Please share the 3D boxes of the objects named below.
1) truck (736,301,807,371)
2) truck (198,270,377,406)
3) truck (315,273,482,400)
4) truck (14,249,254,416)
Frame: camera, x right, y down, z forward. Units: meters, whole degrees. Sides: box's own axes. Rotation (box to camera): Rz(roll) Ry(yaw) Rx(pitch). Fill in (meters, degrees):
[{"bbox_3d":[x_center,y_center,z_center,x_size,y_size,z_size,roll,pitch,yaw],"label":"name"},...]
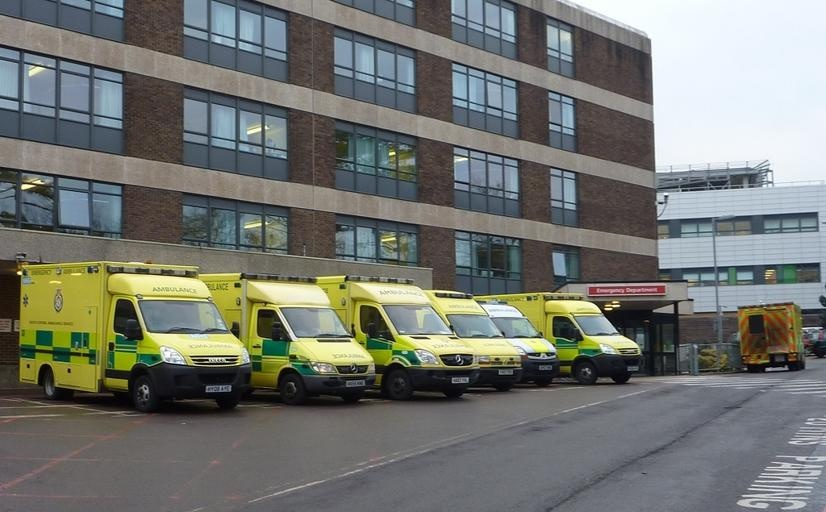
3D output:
[{"bbox_3d":[18.387,4.146,52.420,2.905,2.861,5.747,-7,-9,31],"label":"truck"},{"bbox_3d":[-5.003,2.424,36.126,7.986,3.847,3.719,5,3,36],"label":"truck"},{"bbox_3d":[-1.245,2.537,37.834,3.884,3.717,7.701,-3,6,-45],"label":"truck"},{"bbox_3d":[-8.733,2.421,34.085,4.197,4.110,8.975,1,-2,-41],"label":"truck"}]
